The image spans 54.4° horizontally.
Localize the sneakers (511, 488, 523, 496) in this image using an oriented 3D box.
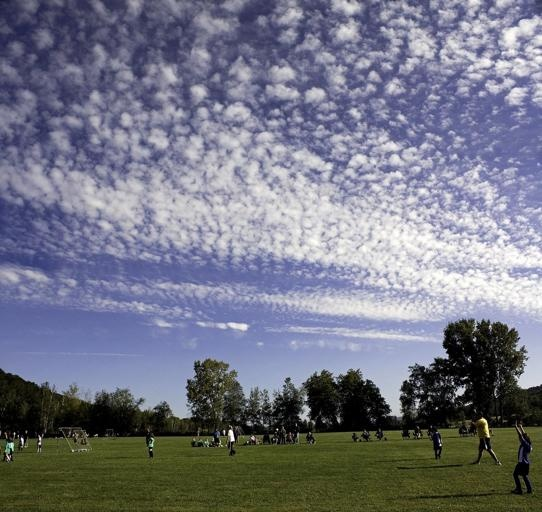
[{"bbox_3d":[9.675,9.204,20.627,0.153,0.290,0.409,22,-31,-33],"label":"sneakers"}]
